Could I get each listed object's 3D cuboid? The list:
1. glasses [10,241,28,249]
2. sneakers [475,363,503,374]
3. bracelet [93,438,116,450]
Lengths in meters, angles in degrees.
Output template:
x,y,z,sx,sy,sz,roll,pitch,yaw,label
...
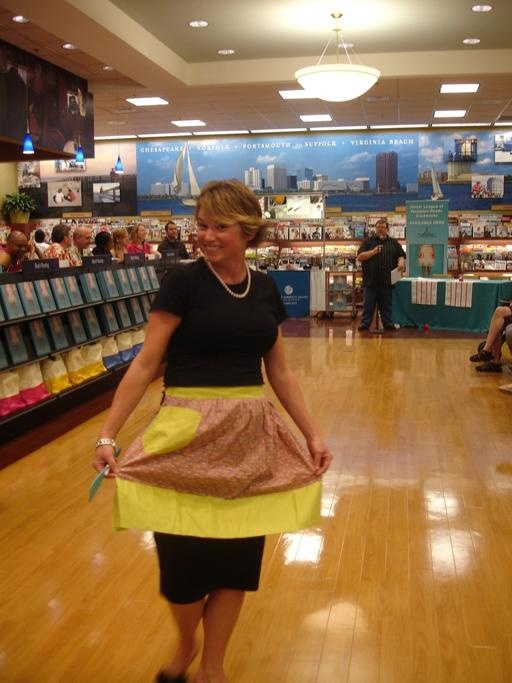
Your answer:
x,y,z,sx,sy,sz,roll,pitch,yaw,label
-2.197,-0.902,4.325,0.130,0.085,0.254,-2,2,-21,glasses
2.829,0.322,5.714,0.336,0.145,0.121,4,5,7,sneakers
-0.268,0.188,0.849,0.047,0.020,0.046,0,-21,-9,bracelet
